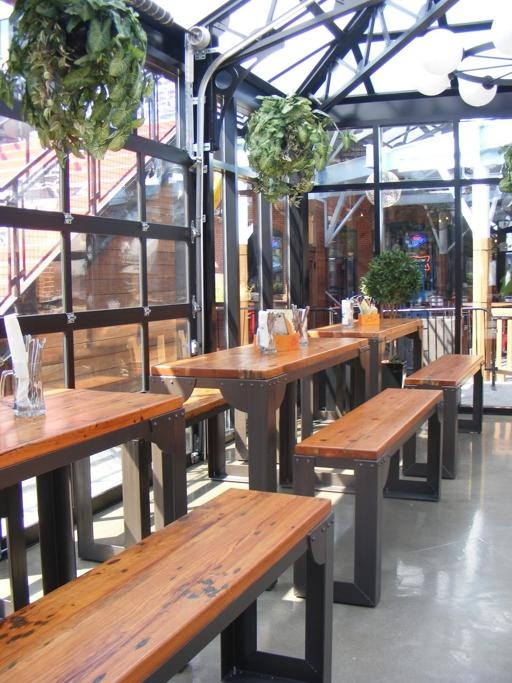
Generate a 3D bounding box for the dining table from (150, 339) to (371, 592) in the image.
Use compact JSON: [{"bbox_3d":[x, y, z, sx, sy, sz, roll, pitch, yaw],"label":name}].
[{"bbox_3d":[0.056,0.667,2.902,0.853,0.827,1.745,2,5,23],"label":"dining table"}]
